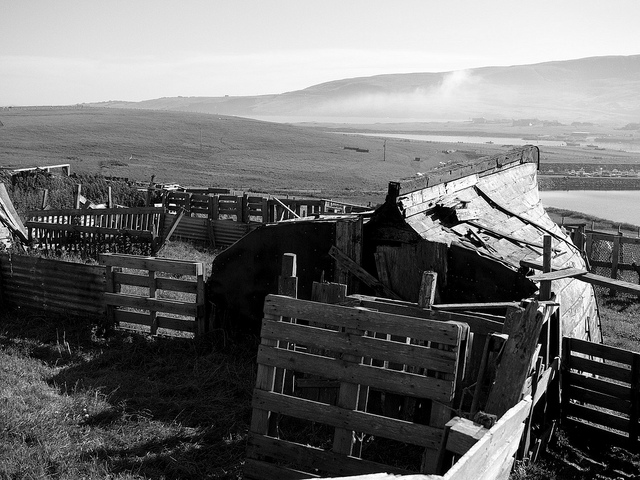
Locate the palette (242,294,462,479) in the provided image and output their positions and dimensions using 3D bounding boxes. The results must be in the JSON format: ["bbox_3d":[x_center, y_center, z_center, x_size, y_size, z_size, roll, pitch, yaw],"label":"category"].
[{"bbox_3d":[0.568,2.315,8.796,2.535,2.842,0.661,7,6,15],"label":"palette"}]

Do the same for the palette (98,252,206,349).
[{"bbox_3d":[-3.634,1.232,12.844,2.378,1.885,0.379,6,17,11],"label":"palette"}]

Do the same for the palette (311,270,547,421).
[{"bbox_3d":[2.085,1.436,8.921,2.290,1.543,2.405,7,4,29],"label":"palette"}]
